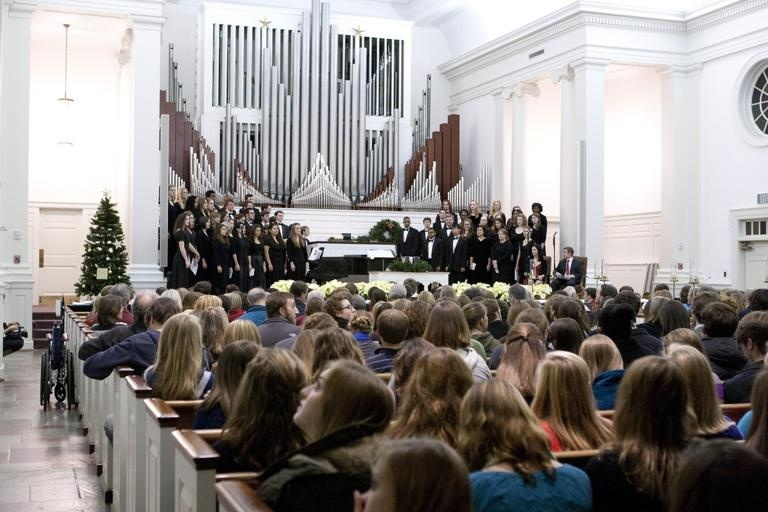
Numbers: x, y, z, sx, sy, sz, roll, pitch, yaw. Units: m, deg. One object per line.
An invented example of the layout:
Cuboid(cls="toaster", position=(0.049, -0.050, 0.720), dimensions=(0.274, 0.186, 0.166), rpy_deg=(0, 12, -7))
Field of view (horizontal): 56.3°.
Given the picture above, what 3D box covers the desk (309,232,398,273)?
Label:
Cuboid(cls="desk", position=(-0.661, -0.028, 13.406), dimensions=(1.557, 0.610, 0.543), rpy_deg=(-1, 0, -15))
